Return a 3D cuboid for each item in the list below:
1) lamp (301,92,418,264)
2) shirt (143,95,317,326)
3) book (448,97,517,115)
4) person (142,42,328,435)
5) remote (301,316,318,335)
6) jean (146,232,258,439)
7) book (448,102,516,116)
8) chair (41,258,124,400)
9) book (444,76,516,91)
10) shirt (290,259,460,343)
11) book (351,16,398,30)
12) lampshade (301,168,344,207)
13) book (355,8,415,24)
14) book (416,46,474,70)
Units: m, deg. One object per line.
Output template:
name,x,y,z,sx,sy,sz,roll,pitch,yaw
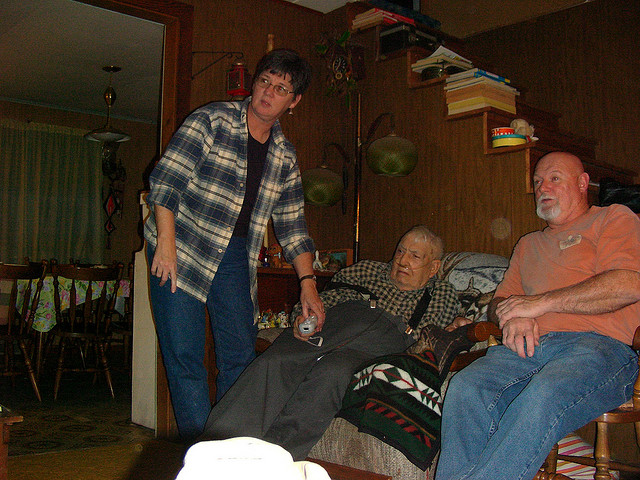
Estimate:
lamp,0.274,-0.402,4.116,0.877,1.371,0.359,-7,24,-14
shirt,-0.440,-0.161,2.672,0.859,0.975,0.525,19,14,-6
book,1.093,-0.914,3.745,0.174,0.045,0.185,2,-2,-41
person,-0.374,-0.009,2.554,0.844,1.478,0.382,3,-1,-25
remote,-0.052,0.415,2.701,0.051,0.037,0.101,1,24,23
jean,-0.542,0.418,2.521,0.208,0.788,0.567,1,-1,44
book,1.095,-0.889,3.727,0.431,0.040,0.180,2,-1,7
chair,-2.158,0.774,5.022,0.719,1.094,0.776,2,-10,-14
book,1.088,-1.055,3.715,0.477,0.038,0.223,2,-1,6
shirt,0.389,0.299,3.045,0.484,0.204,0.661,30,26,28
book,0.437,-1.686,4.263,0.196,0.041,0.196,-10,-4,35
lampshade,0.028,-0.391,4.026,0.266,0.204,0.263,3,-4,-7
book,0.462,-1.788,4.409,0.290,0.040,0.274,23,16,25
book,0.907,-1.325,4.004,0.408,0.089,0.242,2,-1,7
